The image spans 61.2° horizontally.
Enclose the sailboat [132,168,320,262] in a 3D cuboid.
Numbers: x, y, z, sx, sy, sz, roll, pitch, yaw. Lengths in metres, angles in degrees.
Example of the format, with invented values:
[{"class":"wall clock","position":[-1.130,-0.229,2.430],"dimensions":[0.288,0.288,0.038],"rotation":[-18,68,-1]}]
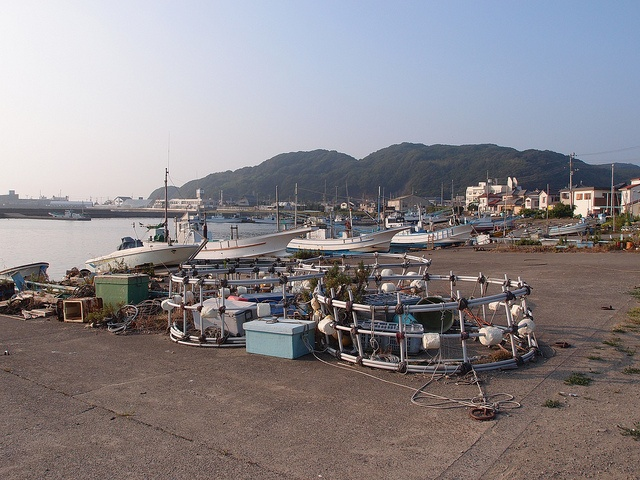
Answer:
[{"class":"sailboat","position":[-5.816,-0.993,29.995],"dimensions":[9.811,5.258,2.788],"rotation":[-4,-5,-23]}]

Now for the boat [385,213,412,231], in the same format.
[{"class":"boat","position":[6.490,-1.455,44.793],"dimensions":[1.922,1.596,3.512],"rotation":[-2,0,6]}]

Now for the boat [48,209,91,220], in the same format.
[{"class":"boat","position":[-67.490,-6.748,146.334],"dimensions":[12.891,3.485,3.372],"rotation":[3,1,18]}]
